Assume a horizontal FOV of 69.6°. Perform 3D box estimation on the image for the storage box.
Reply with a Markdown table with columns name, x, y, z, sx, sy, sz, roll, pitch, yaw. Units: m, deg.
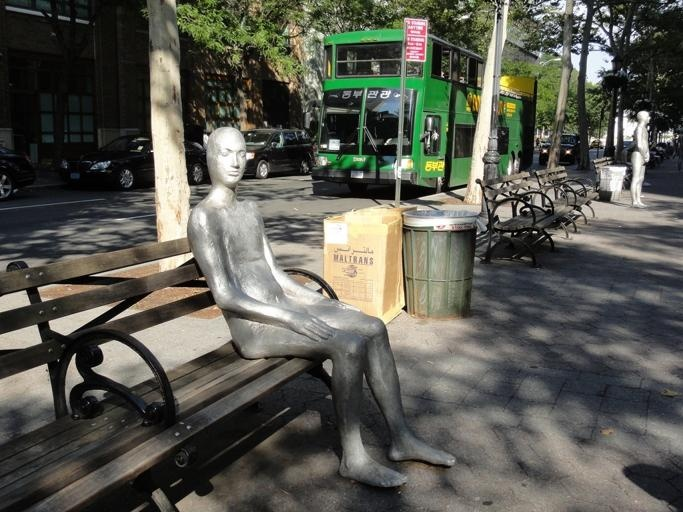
| name | x | y | z | sx | sy | sz | roll | pitch | yaw |
| --- | --- | --- | --- | --- | --- | --- | --- | --- | --- |
| storage box | 0.341 | 0.003 | 6.213 | 1.090 | 1.657 | 1.276 | 2 | 18 | 13 |

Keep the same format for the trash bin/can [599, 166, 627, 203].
| name | x | y | z | sx | sy | sz | roll | pitch | yaw |
| --- | --- | --- | --- | --- | --- | --- | --- | --- | --- |
| trash bin/can | 9.582 | -2.578 | 17.562 | 0.737 | 1.220 | 0.969 | 7 | 14 | 27 |

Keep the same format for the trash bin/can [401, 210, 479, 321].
| name | x | y | z | sx | sy | sz | roll | pitch | yaw |
| --- | --- | --- | --- | --- | --- | --- | --- | --- | --- |
| trash bin/can | 0.982 | 0.045 | 6.364 | 1.125 | 1.441 | 1.177 | -1 | 12 | 4 |
